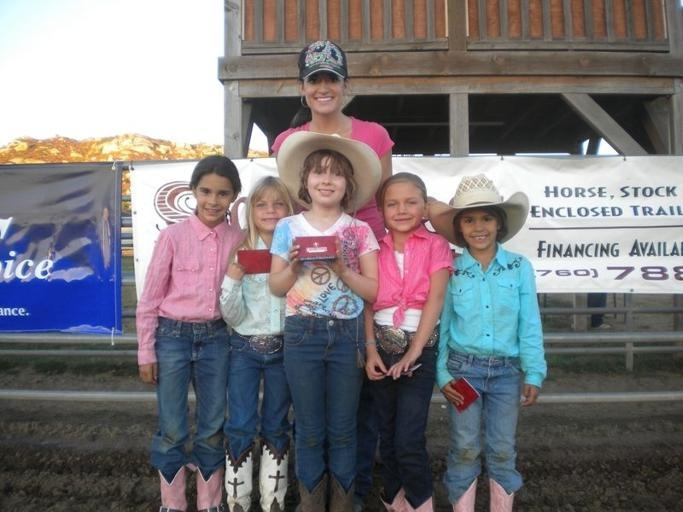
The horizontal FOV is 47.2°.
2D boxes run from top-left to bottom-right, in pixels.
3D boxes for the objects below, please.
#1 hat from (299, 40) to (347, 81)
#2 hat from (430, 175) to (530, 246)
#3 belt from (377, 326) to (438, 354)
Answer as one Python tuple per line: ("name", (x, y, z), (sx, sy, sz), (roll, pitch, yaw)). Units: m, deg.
("hat", (-0.160, -1.716, 6.677), (0.414, 0.287, 0.541), (-3, 21, -3))
("hat", (1.186, -0.525, 6.778), (0.747, 0.333, 0.807), (-2, -9, 9))
("belt", (0.436, 0.684, 6.425), (0.318, 0.229, 0.082), (0, 3, 3))
